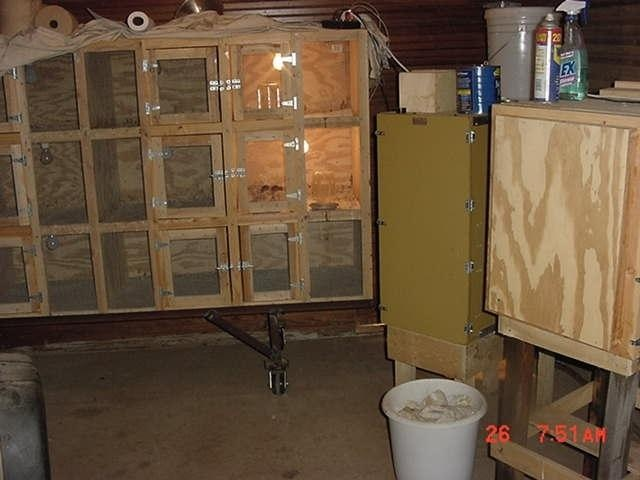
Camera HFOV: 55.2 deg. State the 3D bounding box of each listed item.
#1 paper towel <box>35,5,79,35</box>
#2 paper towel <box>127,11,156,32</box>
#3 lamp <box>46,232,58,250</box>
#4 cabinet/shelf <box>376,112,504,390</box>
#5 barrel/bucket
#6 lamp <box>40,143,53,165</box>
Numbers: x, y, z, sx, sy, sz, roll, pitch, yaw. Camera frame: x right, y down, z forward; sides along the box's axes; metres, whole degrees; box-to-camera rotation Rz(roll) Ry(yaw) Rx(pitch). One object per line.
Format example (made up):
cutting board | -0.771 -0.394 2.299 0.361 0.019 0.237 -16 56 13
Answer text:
paper towel | -2.264 -1.876 5.231 0.340 0.249 0.231 -6 12 -13
paper towel | -1.469 -1.774 5.032 0.205 0.173 0.123 -7 -3 1
lamp | -2.334 0.011 5.322 0.104 0.134 0.118 -11 14 -28
cabinet/shelf | 0.730 0.041 4.032 0.775 1.748 0.373 -1 13 14
barrel/bucket | 1.275 -1.216 3.974 0.362 0.594 0.346 -4 12 1
lamp | -2.328 -0.735 5.208 0.128 0.156 0.051 -1 -10 -36
